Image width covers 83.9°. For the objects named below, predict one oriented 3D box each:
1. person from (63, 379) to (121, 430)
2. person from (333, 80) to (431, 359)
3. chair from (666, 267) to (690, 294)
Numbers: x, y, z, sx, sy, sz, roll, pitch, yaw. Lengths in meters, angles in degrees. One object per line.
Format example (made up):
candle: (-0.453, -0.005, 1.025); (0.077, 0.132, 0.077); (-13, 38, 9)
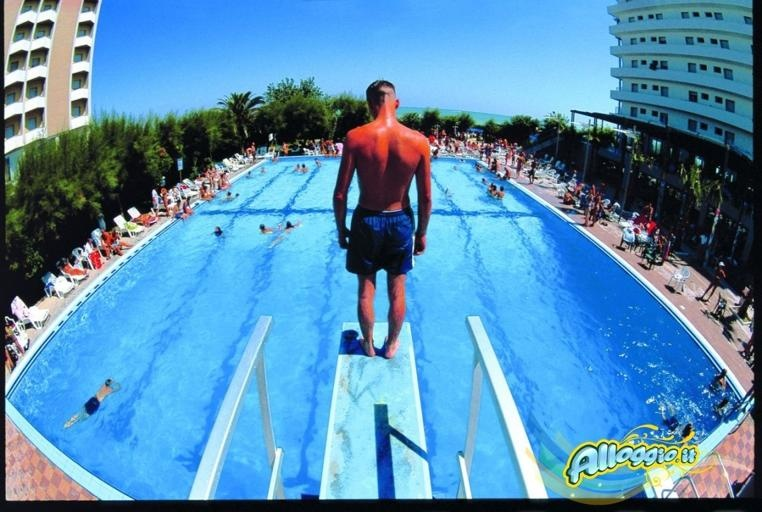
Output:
person: (-5.202, 2.687, 7.702); (0.309, 0.378, 0.916); (14, 46, 35)
person: (-0.001, -0.377, 4.731); (1.061, 2.982, 0.633); (3, 16, 4)
chair: (7.986, 0.723, 11.483); (0.421, 0.580, 0.974); (21, -18, 31)
